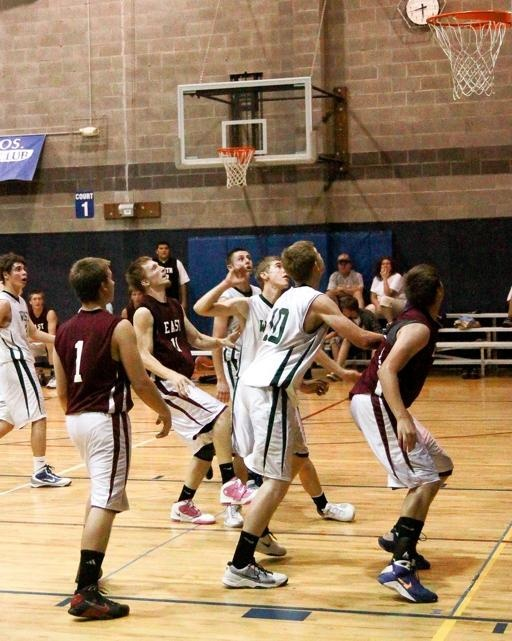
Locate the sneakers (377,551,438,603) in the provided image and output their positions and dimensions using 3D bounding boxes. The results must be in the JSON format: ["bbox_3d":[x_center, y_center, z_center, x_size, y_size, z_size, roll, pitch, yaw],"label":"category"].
[{"bbox_3d":[0.566,0.981,3.022,0.210,0.149,0.124,-2,1,37],"label":"sneakers"}]

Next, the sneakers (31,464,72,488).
[{"bbox_3d":[-1.309,1.051,5.357,0.346,0.176,0.108,2,-3,-1],"label":"sneakers"}]

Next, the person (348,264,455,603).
[{"bbox_3d":[0.583,0.420,3.179,0.396,1.123,0.467,-3,1,5],"label":"person"}]

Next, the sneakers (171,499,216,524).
[{"bbox_3d":[-0.297,1.031,4.294,0.303,0.122,0.098,3,-3,4],"label":"sneakers"}]

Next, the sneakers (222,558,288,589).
[{"bbox_3d":[-0.003,1.034,3.255,0.281,0.116,0.101,1,-1,-8],"label":"sneakers"}]

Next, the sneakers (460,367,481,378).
[{"bbox_3d":[2.856,0.702,10.617,0.131,0.124,0.339,-2,-8,11],"label":"sneakers"}]

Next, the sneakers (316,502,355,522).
[{"bbox_3d":[0.426,1.028,4.268,0.170,0.085,0.069,-1,-32,25],"label":"sneakers"}]

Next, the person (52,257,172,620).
[{"bbox_3d":[-0.544,0.428,3.066,0.413,1.344,0.385,-3,1,-14],"label":"person"}]

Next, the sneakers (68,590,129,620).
[{"bbox_3d":[-0.581,1.048,2.966,0.287,0.116,0.090,4,-5,-19],"label":"sneakers"}]

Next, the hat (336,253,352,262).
[{"bbox_3d":[1.216,-0.882,10.956,0.153,0.104,0.144,1,-3,0],"label":"hat"}]
